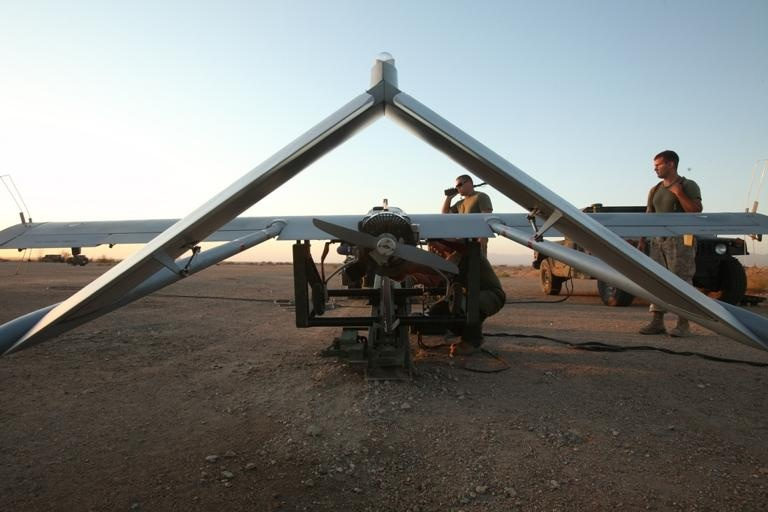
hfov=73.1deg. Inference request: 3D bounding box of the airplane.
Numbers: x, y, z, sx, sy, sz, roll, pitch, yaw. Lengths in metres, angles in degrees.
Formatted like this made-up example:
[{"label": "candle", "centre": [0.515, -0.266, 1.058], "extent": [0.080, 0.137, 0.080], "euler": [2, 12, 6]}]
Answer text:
[{"label": "airplane", "centre": [-0.027, -0.230, 6.082], "extent": [5.504, 1.460, 4.558], "euler": [0, -2, -1]}]
